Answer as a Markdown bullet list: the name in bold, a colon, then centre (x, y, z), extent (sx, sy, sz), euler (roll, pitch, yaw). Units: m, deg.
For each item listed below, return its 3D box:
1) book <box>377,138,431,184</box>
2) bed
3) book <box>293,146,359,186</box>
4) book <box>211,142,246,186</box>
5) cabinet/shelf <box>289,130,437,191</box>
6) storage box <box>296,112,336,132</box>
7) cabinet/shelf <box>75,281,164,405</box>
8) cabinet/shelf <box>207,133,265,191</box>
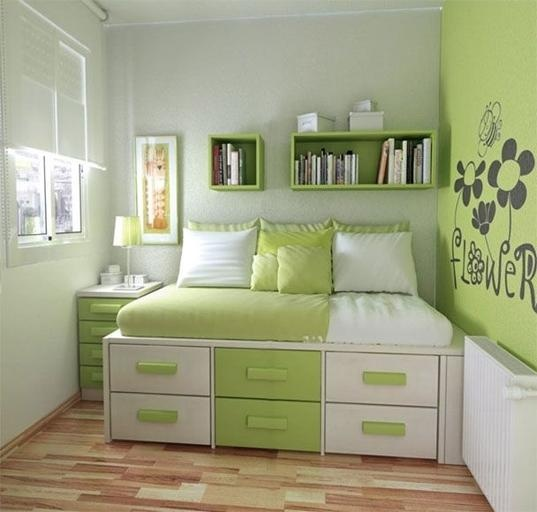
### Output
- **book**: centre (0.916, -0.577, 3.511), extent (0.297, 0.415, 0.412), euler (1, 3, -1)
- **bed**: centre (0.126, 0.437, 3.201), extent (2.078, 1.255, 1.166), euler (0, 6, 10)
- **book**: centre (0.397, -0.614, 3.475), extent (0.441, 0.231, 0.142), euler (1, 11, 4)
- **book**: centre (-0.289, -0.629, 3.678), extent (0.250, 0.341, 0.345), euler (0, 4, 7)
- **cabinet/shelf**: centre (0.660, -0.664, 3.600), extent (1.012, 0.401, 0.275), euler (0, 0, 4)
- **storage box**: centre (0.355, -0.924, 3.496), extent (0.290, 0.130, 0.203), euler (-2, 12, -9)
- **cabinet/shelf**: centre (-1.120, 0.621, 3.700), extent (0.438, 0.745, 0.695), euler (-1, -3, -8)
- **cabinet/shelf**: centre (-0.250, -0.663, 3.566), extent (0.380, 0.367, 0.294), euler (-3, 8, -9)
